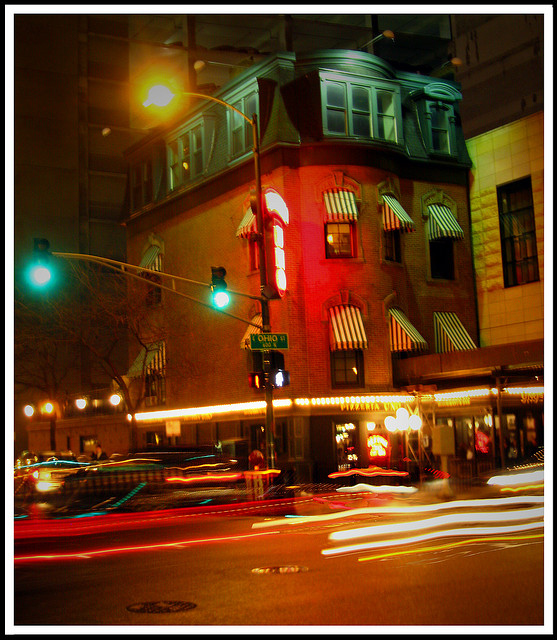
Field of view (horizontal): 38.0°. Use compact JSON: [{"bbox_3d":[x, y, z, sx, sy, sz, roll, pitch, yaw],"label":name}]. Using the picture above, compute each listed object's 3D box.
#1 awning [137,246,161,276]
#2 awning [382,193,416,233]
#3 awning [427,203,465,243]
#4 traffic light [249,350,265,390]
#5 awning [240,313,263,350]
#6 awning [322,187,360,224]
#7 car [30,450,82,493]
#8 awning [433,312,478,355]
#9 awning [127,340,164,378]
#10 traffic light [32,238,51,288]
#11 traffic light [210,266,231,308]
[{"bbox_3d":[-6.600,-3.152,42.216,0.450,1.538,1.943,1,-11,-28],"label":"awning"},{"bbox_3d":[4.861,-4.469,33.382,1.191,1.811,0.840,-8,-9,22],"label":"awning"},{"bbox_3d":[7.362,-4.279,36.145,1.436,1.589,0.607,9,-20,-36],"label":"awning"},{"bbox_3d":[-0.594,1.345,22.270,0.411,1.065,0.373,-3,-8,-2],"label":"traffic light"},{"bbox_3d":[-1.026,0.500,32.719,1.243,0.437,1.270,0,-7,-32],"label":"awning"},{"bbox_3d":[2.452,-4.592,32.451,1.179,1.329,0.532,2,-16,-17],"label":"awning"},{"bbox_3d":[-9.039,5.960,32.966,1.949,1.786,4.691,0,1,-14],"label":"car"},{"bbox_3d":[7.591,0.510,35.631,1.753,1.815,0.877,3,-10,-38],"label":"awning"},{"bbox_3d":[-6.601,1.985,40.904,1.725,0.095,1.762,-45,18,14],"label":"awning"},{"bbox_3d":[-5.864,-1.480,20.155,0.435,1.331,0.957,-1,-9,-17],"label":"traffic light"},{"bbox_3d":[-1.494,-0.855,20.967,0.456,1.183,1.215,-3,-9,-5],"label":"traffic light"}]
